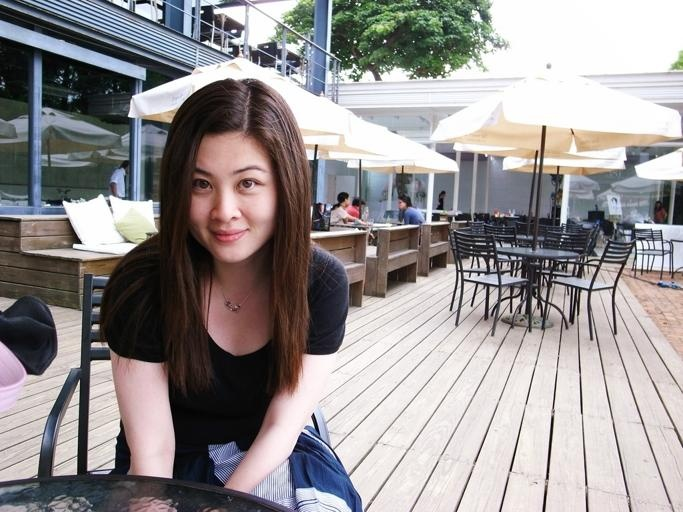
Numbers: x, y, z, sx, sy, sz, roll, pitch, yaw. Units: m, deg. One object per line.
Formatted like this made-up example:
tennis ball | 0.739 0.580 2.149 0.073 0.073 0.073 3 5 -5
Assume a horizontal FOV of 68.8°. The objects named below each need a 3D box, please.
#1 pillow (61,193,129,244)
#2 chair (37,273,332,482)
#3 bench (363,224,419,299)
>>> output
pillow | -2.765 -0.368 5.550 0.161 0.606 0.628 -22 3 21
chair | -0.633 0.434 1.953 0.907 0.949 0.700 1 1 -31
bench | 0.710 0.089 7.081 0.363 0.672 1.019 6 7 24
